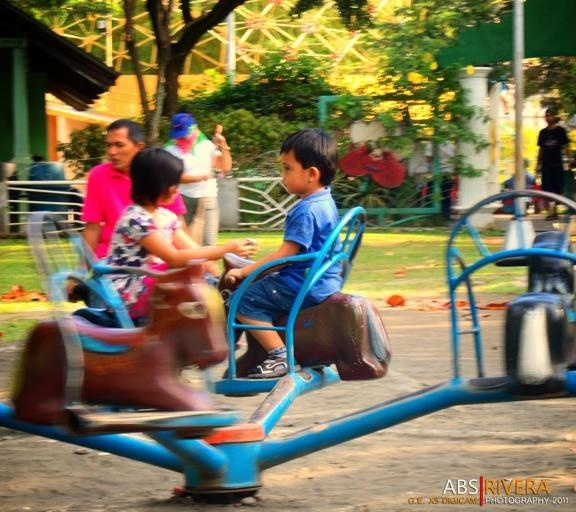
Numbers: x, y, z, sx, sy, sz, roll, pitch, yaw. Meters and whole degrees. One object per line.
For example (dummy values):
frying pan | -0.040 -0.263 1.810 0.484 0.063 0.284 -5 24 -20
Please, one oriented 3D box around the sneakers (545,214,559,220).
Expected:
sneakers | 4.568 -0.657 14.393 0.138 0.110 0.370 -3 -6 33

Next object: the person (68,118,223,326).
person | -0.712 -0.225 3.951 0.926 0.799 0.563 -10 30 -38

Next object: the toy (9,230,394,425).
toy | -0.183 0.201 2.674 0.525 0.605 1.324 5 9 33

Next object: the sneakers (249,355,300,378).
sneakers | -0.059 0.429 3.149 0.197 0.062 0.067 -3 -12 9
